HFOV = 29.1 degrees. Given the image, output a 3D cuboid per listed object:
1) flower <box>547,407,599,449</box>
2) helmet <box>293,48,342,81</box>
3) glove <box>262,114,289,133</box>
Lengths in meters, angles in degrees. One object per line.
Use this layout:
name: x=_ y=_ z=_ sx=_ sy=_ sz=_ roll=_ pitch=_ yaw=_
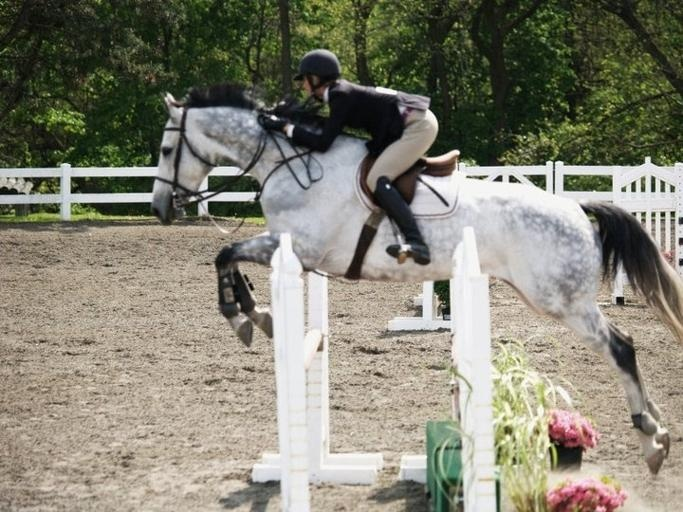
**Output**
flower: x=3.663 y=2.722 z=20.652 sx=0.782 sy=0.500 sz=0.624 roll=31 pitch=25 yaw=35
helmet: x=-0.327 y=-3.072 z=21.269 sx=0.617 sy=0.375 sz=0.455 roll=3 pitch=0 yaw=4
glove: x=-1.067 y=-2.181 z=21.443 sx=0.341 sy=0.157 sz=0.279 roll=5 pitch=-24 yaw=7
